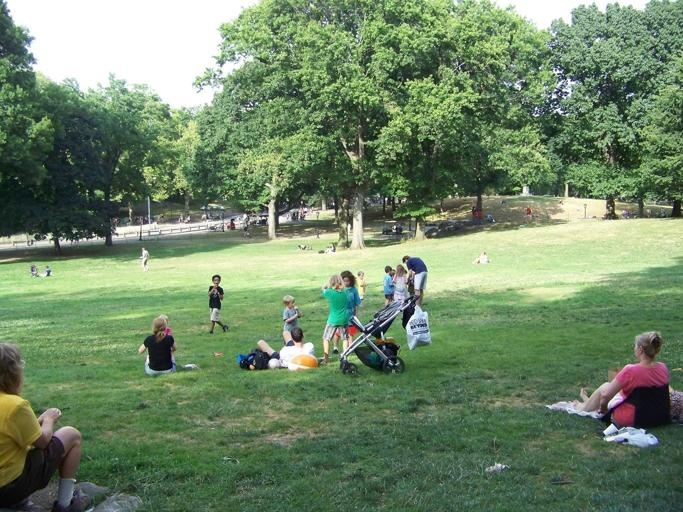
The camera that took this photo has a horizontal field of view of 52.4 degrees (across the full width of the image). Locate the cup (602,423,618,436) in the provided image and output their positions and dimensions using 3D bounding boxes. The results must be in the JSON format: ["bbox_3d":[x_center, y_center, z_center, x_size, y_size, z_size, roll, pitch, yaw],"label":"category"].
[{"bbox_3d":[5.344,3.444,13.837,0.224,0.214,0.211,-10,6,1],"label":"cup"}]

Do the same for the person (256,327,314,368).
[{"bbox_3d":[-1.483,2.372,18.301,1.486,0.993,1.021,1,10,3],"label":"person"}]

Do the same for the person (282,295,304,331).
[{"bbox_3d":[-1.363,1.525,18.950,0.443,0.935,0.941,-1,10,-5],"label":"person"}]

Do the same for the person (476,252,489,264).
[{"bbox_3d":[8.134,0.092,40.036,0.792,0.593,1.146,2,10,12],"label":"person"}]

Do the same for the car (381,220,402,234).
[{"bbox_3d":[5.154,-3.089,71.460,1.693,1.327,2.787,-1,-1,4],"label":"car"}]
